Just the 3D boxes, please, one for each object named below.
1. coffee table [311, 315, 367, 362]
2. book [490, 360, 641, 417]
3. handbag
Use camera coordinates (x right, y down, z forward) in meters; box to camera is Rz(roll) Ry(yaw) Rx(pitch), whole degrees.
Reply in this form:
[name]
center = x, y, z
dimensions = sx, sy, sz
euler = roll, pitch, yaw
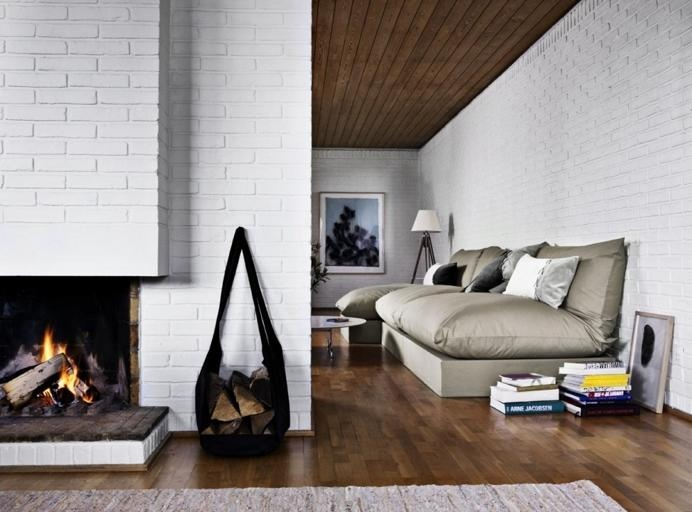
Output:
[coffee table]
center = -0.127, 0.732, 5.422
dimensions = 0.651, 0.212, 0.605
euler = 2, 4, -28
[book]
center = 1.434, 0.888, 3.677
dimensions = 0.671, 0.205, 0.436
euler = -1, -2, -1
[handbag]
center = -0.579, 0.465, 3.155
dimensions = 0.582, 1.256, 0.490
euler = -4, 1, -4
